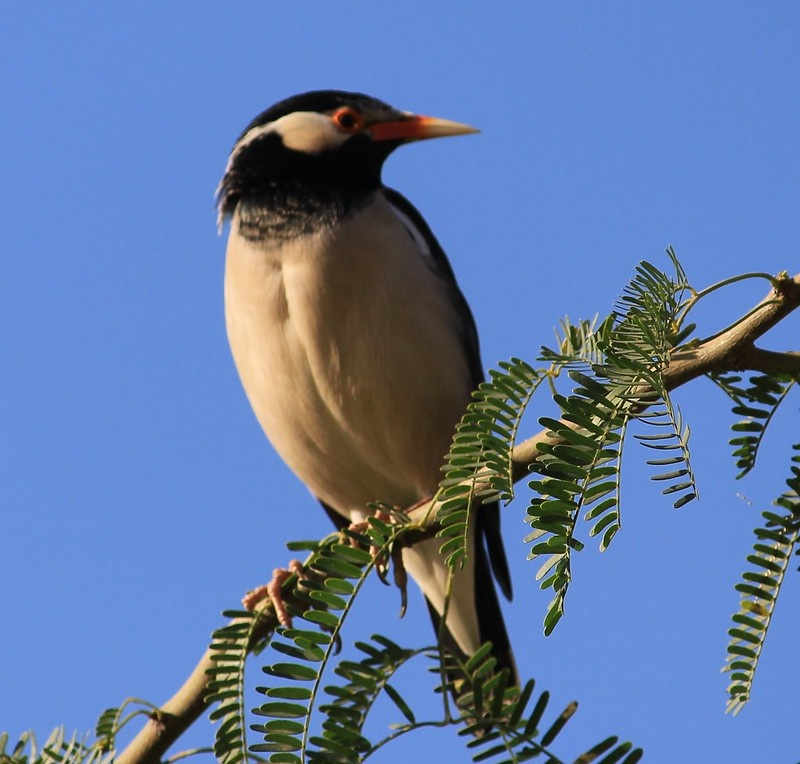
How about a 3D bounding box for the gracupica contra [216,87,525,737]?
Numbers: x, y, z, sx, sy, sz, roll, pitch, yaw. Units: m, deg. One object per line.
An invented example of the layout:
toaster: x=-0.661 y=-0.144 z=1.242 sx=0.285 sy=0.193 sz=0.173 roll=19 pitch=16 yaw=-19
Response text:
gracupica contra: x=-0.057 y=-0.131 z=3.759 sx=0.485 sy=0.496 sz=0.617 roll=-10 pitch=-46 yaw=-5
